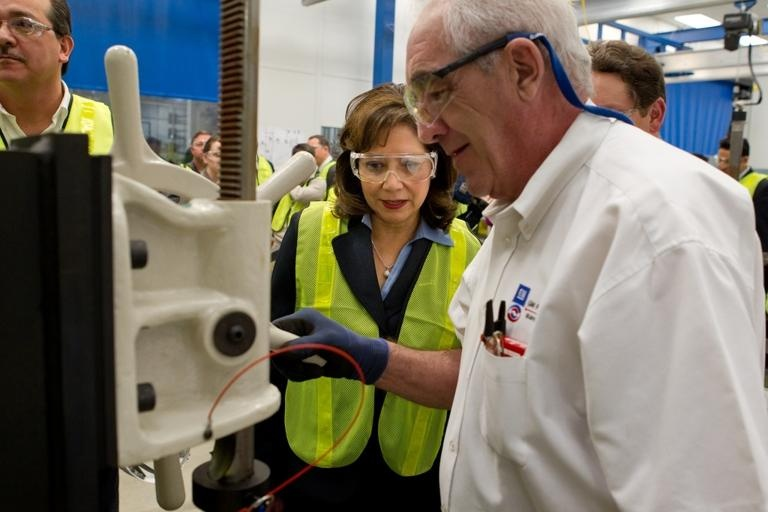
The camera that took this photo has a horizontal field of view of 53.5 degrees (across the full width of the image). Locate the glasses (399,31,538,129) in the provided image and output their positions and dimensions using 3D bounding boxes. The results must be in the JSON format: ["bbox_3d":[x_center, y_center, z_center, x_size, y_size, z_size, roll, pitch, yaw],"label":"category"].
[{"bbox_3d":[0.182,-0.426,1.870,0.219,0.079,0.227,-33,13,10],"label":"glasses"}]
